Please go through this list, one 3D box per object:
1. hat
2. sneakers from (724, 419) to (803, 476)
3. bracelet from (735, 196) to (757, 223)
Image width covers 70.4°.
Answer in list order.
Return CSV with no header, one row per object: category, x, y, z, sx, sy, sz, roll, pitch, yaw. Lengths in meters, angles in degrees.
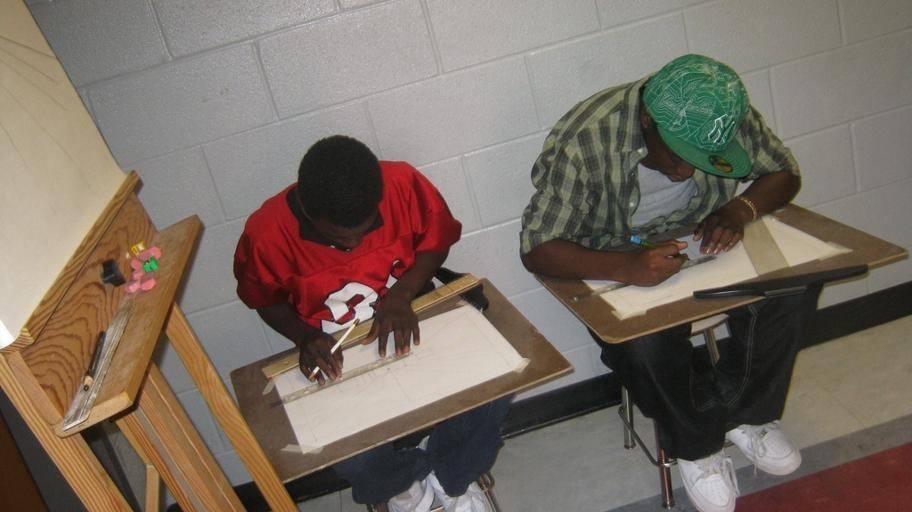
hat,0.920,-0.549,2.515,0.377,0.484,0.251,-23,-30,-21
sneakers,1.329,0.819,2.849,0.174,0.140,0.356,-44,38,-19
bracelet,1.173,-0.192,2.628,0.023,0.084,0.081,-36,45,9
